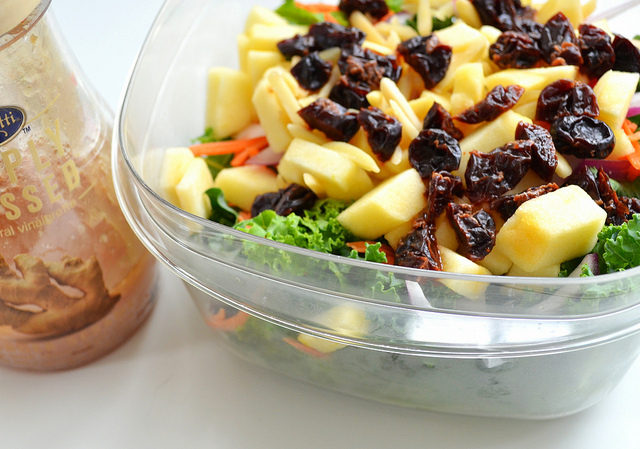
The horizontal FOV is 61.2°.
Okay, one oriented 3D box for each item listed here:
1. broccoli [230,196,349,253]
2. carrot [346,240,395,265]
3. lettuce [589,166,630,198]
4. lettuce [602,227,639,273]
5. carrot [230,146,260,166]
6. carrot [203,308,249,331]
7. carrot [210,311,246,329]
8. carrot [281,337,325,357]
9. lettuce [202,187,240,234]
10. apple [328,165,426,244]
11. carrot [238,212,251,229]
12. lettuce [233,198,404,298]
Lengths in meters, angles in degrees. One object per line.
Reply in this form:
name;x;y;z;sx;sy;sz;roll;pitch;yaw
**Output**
broccoli;-0.039;0.006;1.075;0.136;0.059;0.139;-33;38;-22
carrot;0.105;0.040;1.053;0.058;0.018;0.058;29;31;36
lettuce;0.579;-0.085;1.092;0.119;0.062;0.039;-6;7;-38
lettuce;0.517;0.051;0.968;0.068;0.071;0.032;8;-2;7
carrot;-0.178;-0.161;1.249;0.039;0.017;0.065;4;52;28
carrot;-0.188;0.192;1.090;0.066;0.028;0.077;1;25;5
carrot;-0.192;0.197;1.091;0.050;0.015;0.051;-16;35;-25
carrot;-0.029;0.229;1.017;0.080;0.021;0.014;33;-12;-6
lettuce;-0.212;-0.039;1.198;0.078;0.087;0.053;-1;6;2
apple;0.108;-0.066;1.070;0.159;0.064;0.162;-32;18;-11
carrot;-0.163;-0.005;1.184;0.029;0.031;0.010;3;-33;-9
lettuce;-0.015;0.039;0.989;0.282;0.152;0.275;-2;6;-5
